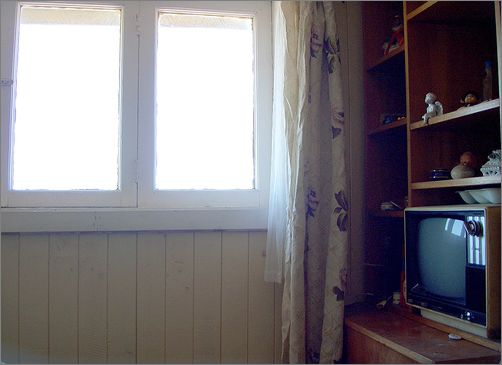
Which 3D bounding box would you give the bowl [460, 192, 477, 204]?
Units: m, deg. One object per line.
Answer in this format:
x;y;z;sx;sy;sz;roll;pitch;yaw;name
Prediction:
0.996;0.077;2.108;0.057;0.056;0.054;-4;-7;0;bowl
